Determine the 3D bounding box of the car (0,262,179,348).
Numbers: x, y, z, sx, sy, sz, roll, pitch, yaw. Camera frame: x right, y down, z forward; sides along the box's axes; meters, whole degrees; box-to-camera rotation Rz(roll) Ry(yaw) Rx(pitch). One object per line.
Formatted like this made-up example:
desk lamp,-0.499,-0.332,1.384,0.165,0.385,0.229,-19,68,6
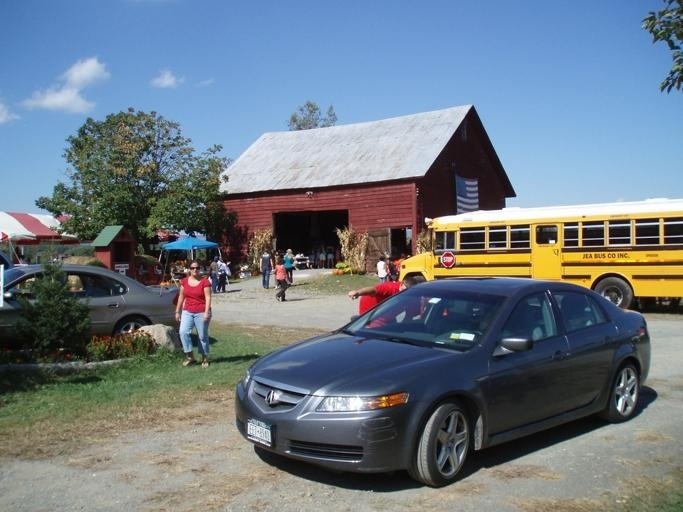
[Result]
car,-4.796,1.001,10.979,3.894,1.347,1.557,4,-3,-26

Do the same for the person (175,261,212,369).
person,-2.653,1.069,9.706,0.720,1.919,0.370,0,1,12
